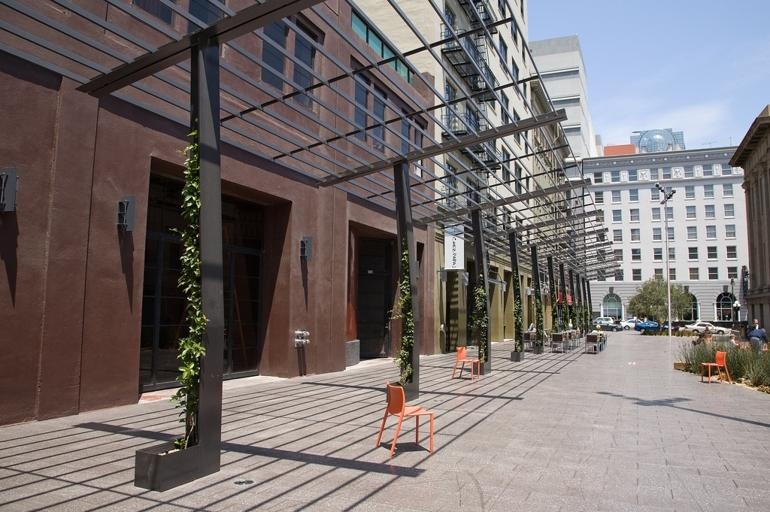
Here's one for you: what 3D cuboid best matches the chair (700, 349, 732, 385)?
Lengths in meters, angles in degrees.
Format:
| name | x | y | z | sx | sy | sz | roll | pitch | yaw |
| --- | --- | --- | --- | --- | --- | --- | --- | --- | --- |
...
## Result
| name | x | y | z | sx | sy | sz | roll | pitch | yaw |
| --- | --- | --- | --- | --- | --- | --- | --- | --- | --- |
| chair | 10.852 | 3.613 | 18.297 | 0.820 | 0.982 | 0.808 | 3 | -5 | -21 |

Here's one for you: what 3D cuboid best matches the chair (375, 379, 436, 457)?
| name | x | y | z | sx | sy | sz | roll | pitch | yaw |
| --- | --- | --- | --- | --- | --- | --- | --- | --- | --- |
| chair | 0.368 | 2.988 | 10.371 | 0.876 | 1.226 | 0.802 | 1 | -4 | -19 |
